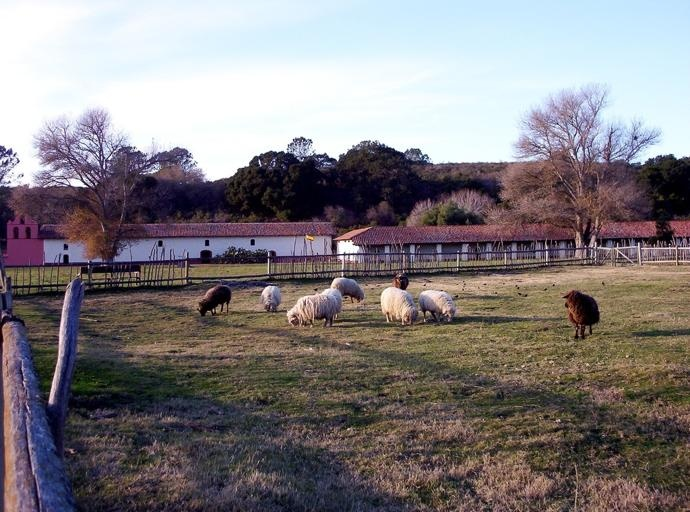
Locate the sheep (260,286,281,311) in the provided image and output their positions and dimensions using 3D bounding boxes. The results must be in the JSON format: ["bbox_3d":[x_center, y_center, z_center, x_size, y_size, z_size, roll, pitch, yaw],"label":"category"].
[{"bbox_3d":[-2.239,1.369,24.111,0.537,0.637,1.446,-3,12,-9],"label":"sheep"}]

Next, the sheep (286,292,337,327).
[{"bbox_3d":[-0.824,1.434,20.592,1.300,0.866,0.753,0,11,4],"label":"sheep"}]

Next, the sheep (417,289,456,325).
[{"bbox_3d":[2.423,1.368,20.746,0.532,0.771,1.253,-7,13,-28],"label":"sheep"}]

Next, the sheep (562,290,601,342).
[{"bbox_3d":[5.224,1.293,17.573,0.648,1.070,1.114,2,12,15],"label":"sheep"}]

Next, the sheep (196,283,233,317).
[{"bbox_3d":[-3.910,1.422,23.880,0.790,0.902,2.141,-1,12,1],"label":"sheep"}]

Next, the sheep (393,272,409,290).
[{"bbox_3d":[1.920,0.924,28.391,0.367,0.740,1.304,2,5,10],"label":"sheep"}]

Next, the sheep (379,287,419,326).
[{"bbox_3d":[1.396,1.368,20.616,0.543,0.916,1.273,-6,13,-23],"label":"sheep"}]
